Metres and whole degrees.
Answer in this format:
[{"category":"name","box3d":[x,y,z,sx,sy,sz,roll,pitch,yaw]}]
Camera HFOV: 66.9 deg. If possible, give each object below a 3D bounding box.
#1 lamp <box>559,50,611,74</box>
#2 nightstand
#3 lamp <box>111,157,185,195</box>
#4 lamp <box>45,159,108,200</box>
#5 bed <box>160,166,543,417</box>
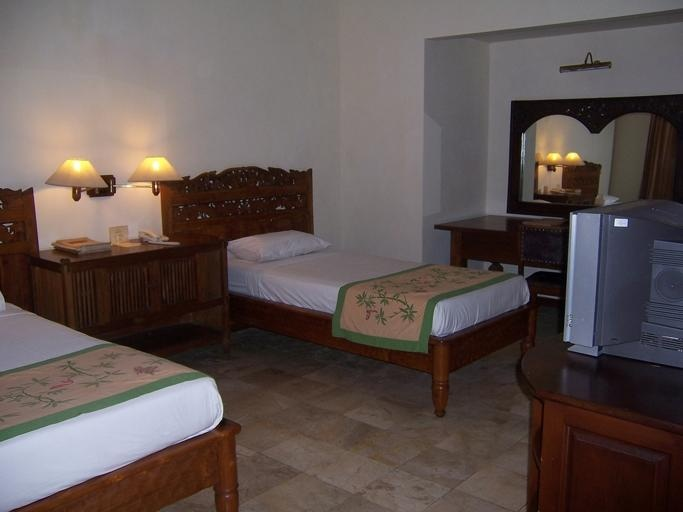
[{"category":"lamp","box3d":[2.525,-2.016,5.283,0.417,0.162,0.409,3,17,39]},{"category":"nightstand","box3d":[-1.666,0.256,3.931,0.386,0.637,0.986,11,16,39]},{"category":"lamp","box3d":[-1.614,-0.680,4.432,0.492,0.238,0.311,7,8,42]},{"category":"lamp","box3d":[-2.079,-0.615,4.009,0.367,0.240,0.367,13,14,41]},{"category":"bed","box3d":[0.093,0.014,4.634,3.088,1.801,1.970,11,18,39]}]
